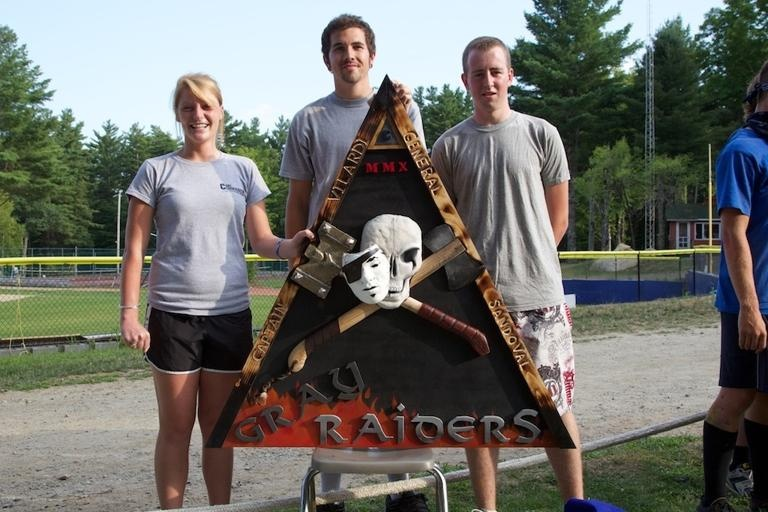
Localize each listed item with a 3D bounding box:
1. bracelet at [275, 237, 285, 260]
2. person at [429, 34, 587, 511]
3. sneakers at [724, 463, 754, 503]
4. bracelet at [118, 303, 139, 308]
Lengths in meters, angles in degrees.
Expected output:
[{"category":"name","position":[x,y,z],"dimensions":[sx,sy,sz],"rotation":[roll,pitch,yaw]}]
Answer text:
[{"category":"bracelet","position":[-0.940,-0.065,7.511],"dimensions":[0.096,0.186,0.355],"rotation":[-2,-1,-8]},{"category":"person","position":[1.162,-0.149,7.769],"dimensions":[1.143,3.175,0.415],"rotation":[-3,-1,6]},{"category":"sneakers","position":[3.571,2.245,8.391],"dimensions":[0.145,0.173,0.415],"rotation":[-3,-7,4]},{"category":"bracelet","position":[-2.316,0.458,7.594],"dimensions":[0.164,0.044,0.104],"rotation":[-2,-1,-30]}]
